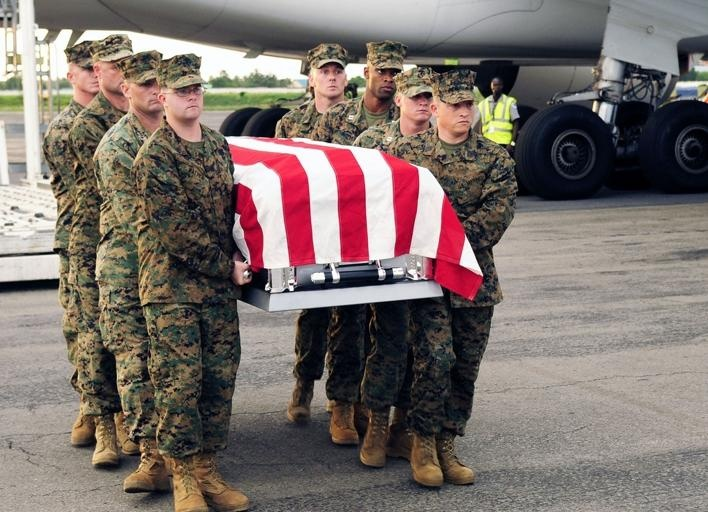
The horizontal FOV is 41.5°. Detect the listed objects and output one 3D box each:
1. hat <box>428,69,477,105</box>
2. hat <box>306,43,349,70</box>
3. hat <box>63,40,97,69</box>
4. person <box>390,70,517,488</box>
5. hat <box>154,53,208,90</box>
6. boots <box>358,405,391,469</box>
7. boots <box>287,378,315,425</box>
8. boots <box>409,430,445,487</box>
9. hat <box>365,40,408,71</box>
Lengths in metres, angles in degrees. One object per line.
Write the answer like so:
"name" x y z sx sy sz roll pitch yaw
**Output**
"hat" 0.587 -0.986 5.429 0.258 0.200 0.238 2 12 4
"hat" -0.191 -1.464 6.914 0.284 0.131 0.317 -1 2 -11
"hat" -1.760 -1.296 5.943 0.200 0.104 0.246 -2 -3 -12
"person" 0.574 0.111 5.374 0.660 2.337 0.784 3 13 8
"hat" -0.923 -0.987 4.989 0.244 0.192 0.184 -1 12 -10
"boots" 0.135 1.074 5.608 0.173 0.251 0.416 8 19 2
"boots" -0.349 0.937 6.115 0.161 0.267 0.269 1 12 -4
"boots" 0.420 1.162 5.324 0.153 0.279 0.198 0 13 -6
"hat" 0.229 -1.387 6.478 0.246 0.133 0.265 -1 3 -17
